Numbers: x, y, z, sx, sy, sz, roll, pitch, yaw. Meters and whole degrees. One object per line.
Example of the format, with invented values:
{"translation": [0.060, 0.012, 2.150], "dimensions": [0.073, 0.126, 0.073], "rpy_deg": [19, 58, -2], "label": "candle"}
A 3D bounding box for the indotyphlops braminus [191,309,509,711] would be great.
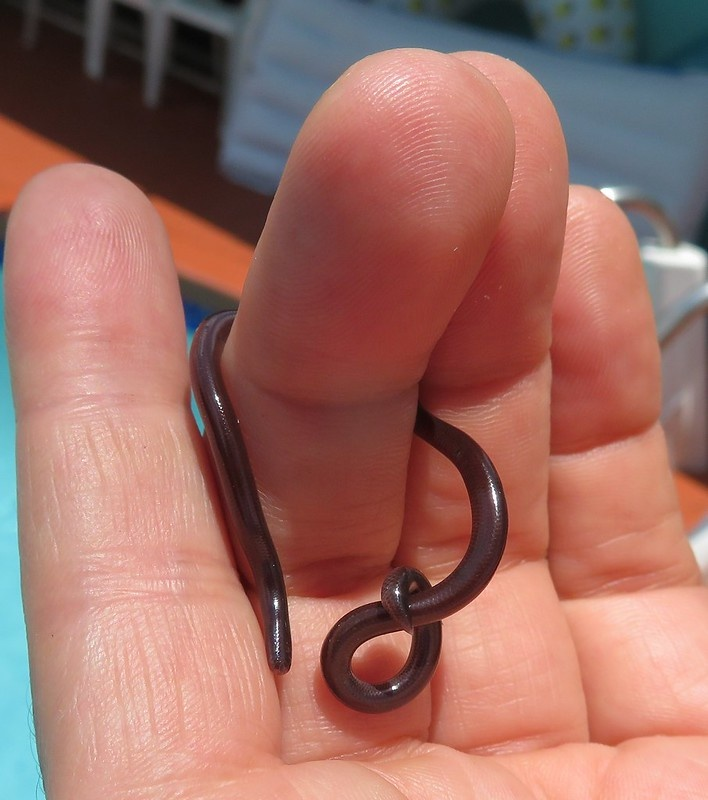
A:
{"translation": [-0.011, 0.105, 0.999], "dimensions": [0.298, 0.270, 0.394], "rpy_deg": [-13, 44, -25], "label": "indotyphlops braminus"}
